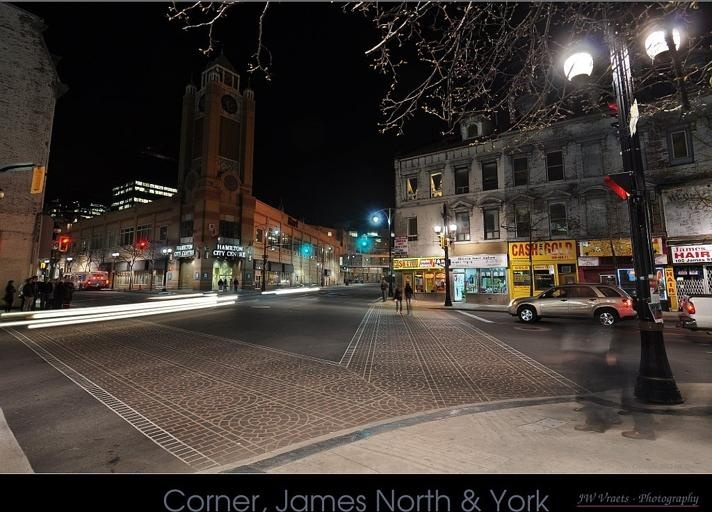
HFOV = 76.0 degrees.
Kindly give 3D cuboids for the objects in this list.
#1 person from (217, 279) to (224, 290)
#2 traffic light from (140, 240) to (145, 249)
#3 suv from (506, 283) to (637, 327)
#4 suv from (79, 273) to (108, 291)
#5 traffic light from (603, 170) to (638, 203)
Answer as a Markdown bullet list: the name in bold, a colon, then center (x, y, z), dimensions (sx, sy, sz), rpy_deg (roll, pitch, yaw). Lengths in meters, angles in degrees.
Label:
- **person**: center (-15.013, 3.363, 51.428), dimensions (0.605, 1.234, 1.131), rpy_deg (-1, 0, -17)
- **traffic light**: center (-22.391, -1.194, 48.452), dimensions (0.520, 0.508, 0.933), rpy_deg (5, 2, -24)
- **suv**: center (9.041, 2.033, 19.079), dimensions (5.126, 1.799, 2.241), rpy_deg (0, -6, 34)
- **suv**: center (-31.035, 3.226, 54.664), dimensions (1.897, 2.258, 6.925), rpy_deg (2, -6, -34)
- **traffic light**: center (5.555, -1.474, 9.853), dimensions (0.638, 0.710, 0.490), rpy_deg (-3, -1, 18)
